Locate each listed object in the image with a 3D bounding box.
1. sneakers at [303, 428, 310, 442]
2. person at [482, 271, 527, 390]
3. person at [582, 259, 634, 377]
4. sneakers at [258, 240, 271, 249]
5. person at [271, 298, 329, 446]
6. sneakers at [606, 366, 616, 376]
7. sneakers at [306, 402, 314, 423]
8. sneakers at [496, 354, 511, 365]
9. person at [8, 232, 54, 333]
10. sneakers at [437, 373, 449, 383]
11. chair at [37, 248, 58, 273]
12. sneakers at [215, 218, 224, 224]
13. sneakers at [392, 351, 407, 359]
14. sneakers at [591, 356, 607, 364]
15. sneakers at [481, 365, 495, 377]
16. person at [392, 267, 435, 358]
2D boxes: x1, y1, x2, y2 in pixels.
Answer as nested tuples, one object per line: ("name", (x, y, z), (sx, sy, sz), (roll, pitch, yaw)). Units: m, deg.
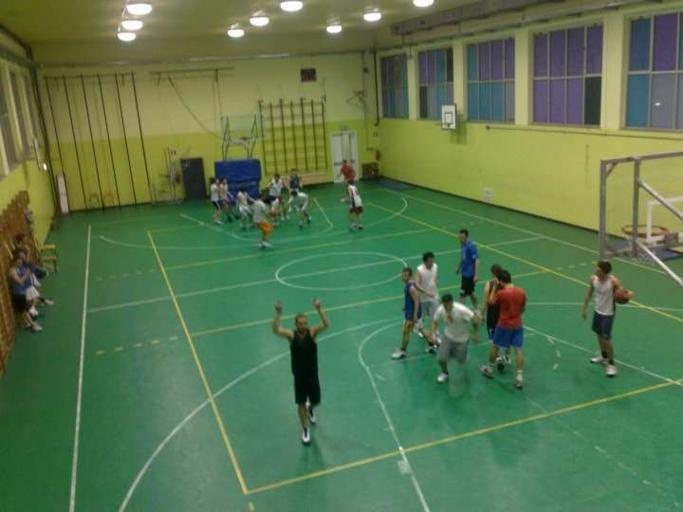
("sneakers", (-0.591, 2.983, 8.444), (0.081, 0.122, 0.258), (-1, 11, -5))
("person", (3.061, 1.299, 9.551), (0.727, 2.066, 0.864), (3, 18, 21))
("person", (5.002, 1.115, 9.696), (0.736, 2.080, 0.990), (3, 18, 22))
("sneakers", (-2.662, -0.394, 17.969), (0.278, 0.226, 0.273), (-10, 2, -39))
("person", (-0.591, 1.818, 8.329), (0.687, 2.433, 0.749), (12, 23, 43))
("sneakers", (5.033, 2.140, 9.571), (0.136, 0.085, 0.198), (-1, 25, 9))
("sneakers", (-0.536, 2.757, 8.830), (0.109, 0.413, 0.150), (-4, 2, 7))
("sneakers", (3.182, 2.044, 10.072), (0.176, 0.245, 0.324), (1, -1, 34))
("person", (-8.279, 0.769, 13.554), (0.642, 2.276, 1.166), (5, 53, -10))
("sneakers", (1.912, 2.335, 9.697), (0.115, 0.109, 0.230), (3, 9, 27))
("chair", (-9.704, 0.175, 16.818), (0.632, 0.874, 0.555), (9, 15, 33))
("sneakers", (-5.215, -1.464, 21.841), (0.274, 0.148, 0.196), (20, -4, -44))
("sneakers", (1.185, 2.047, 10.570), (0.224, 0.169, 0.141), (2, 8, -6))
("sneakers", (5.035, 2.051, 10.027), (0.279, 0.156, 0.122), (5, 16, 13))
("sneakers", (2.790, 2.196, 9.804), (0.128, 0.213, 0.295), (-4, 29, -8))
("person", (1.318, 1.084, 10.501), (0.558, 1.962, 0.775), (-1, 17, 9))
